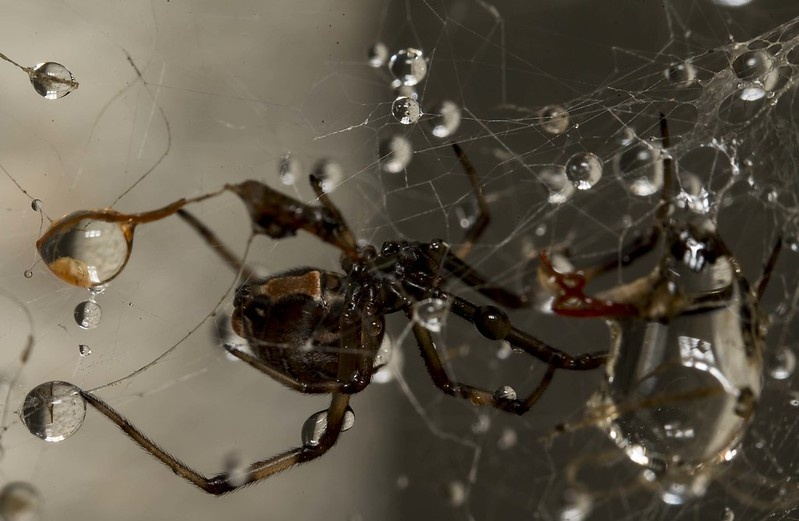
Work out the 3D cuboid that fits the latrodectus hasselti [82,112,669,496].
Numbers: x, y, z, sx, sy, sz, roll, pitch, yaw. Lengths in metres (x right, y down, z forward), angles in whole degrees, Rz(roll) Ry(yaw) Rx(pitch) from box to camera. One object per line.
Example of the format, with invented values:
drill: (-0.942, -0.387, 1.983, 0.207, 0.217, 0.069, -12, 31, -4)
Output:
latrodectus hasselti: (-0.099, 0.097, 1.651, 0.925, 0.631, 0.234, -5, -7, -6)
